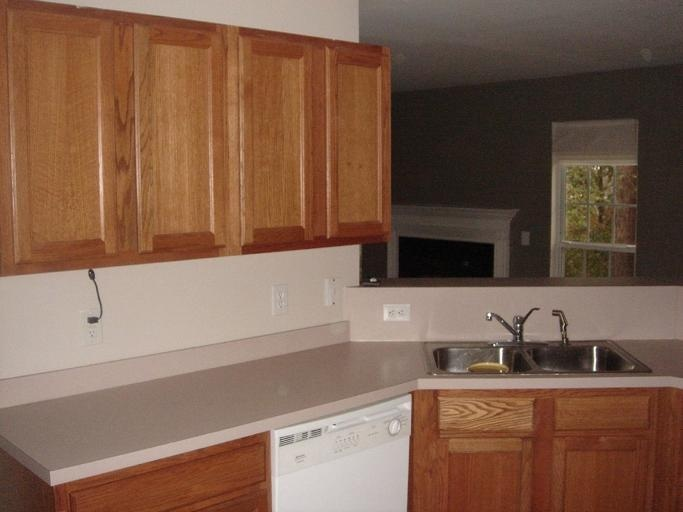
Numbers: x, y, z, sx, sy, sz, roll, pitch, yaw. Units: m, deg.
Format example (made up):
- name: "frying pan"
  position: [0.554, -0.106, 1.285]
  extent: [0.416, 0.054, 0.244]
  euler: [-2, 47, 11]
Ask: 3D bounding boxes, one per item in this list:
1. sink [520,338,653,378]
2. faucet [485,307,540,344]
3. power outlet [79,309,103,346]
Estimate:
- name: "sink"
  position: [1.214, 0.530, 3.094]
  extent: [0.304, 0.104, 0.229]
  euler: [-1, 14, -2]
- name: "faucet"
  position: [0.901, 0.353, 3.194]
  extent: [0.296, 0.197, 0.230]
  euler: [3, 14, 6]
- name: "power outlet"
  position: [-1.050, 0.300, 2.547]
  extent: [0.086, 0.150, 0.041]
  euler: [-6, 17, -25]
